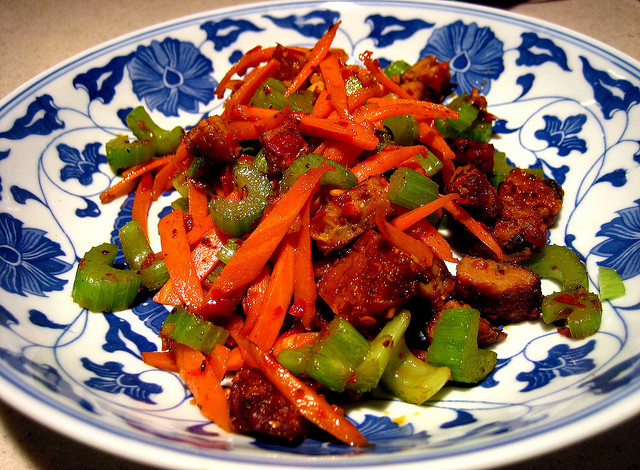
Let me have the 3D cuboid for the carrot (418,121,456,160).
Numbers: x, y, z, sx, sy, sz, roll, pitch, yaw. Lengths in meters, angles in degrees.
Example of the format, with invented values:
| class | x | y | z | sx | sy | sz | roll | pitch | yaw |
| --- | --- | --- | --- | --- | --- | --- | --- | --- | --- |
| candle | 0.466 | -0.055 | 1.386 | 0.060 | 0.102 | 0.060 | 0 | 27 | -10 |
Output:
| class | x | y | z | sx | sy | sz | roll | pitch | yaw |
| --- | --- | --- | --- | --- | --- | --- | --- | --- | --- |
| carrot | 0.915 | -0.766 | 4.839 | 0.163 | 0.112 | 0.356 | -9 | 31 | -25 |

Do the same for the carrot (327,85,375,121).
| class | x | y | z | sx | sy | sz | roll | pitch | yaw |
| --- | --- | --- | --- | --- | --- | --- | --- | --- | --- |
| carrot | 0.230 | -0.991 | 4.775 | 0.352 | 0.096 | 0.092 | -47 | 33 | -18 |

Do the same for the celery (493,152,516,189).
| class | x | y | z | sx | sy | sz | roll | pitch | yaw |
| --- | --- | --- | --- | --- | --- | --- | --- | --- | --- |
| celery | 1.527 | -0.534 | 5.257 | 0.167 | 0.039 | 0.277 | -8 | 88 | -10 |

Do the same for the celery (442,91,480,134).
| class | x | y | z | sx | sy | sz | roll | pitch | yaw |
| --- | --- | --- | --- | --- | --- | --- | --- | --- | --- |
| celery | 1.240 | -1.036 | 5.425 | 0.310 | 0.085 | 0.329 | -42 | 62 | 17 |

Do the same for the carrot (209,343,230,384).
| class | x | y | z | sx | sy | sz | roll | pitch | yaw |
| --- | --- | --- | --- | --- | --- | --- | --- | --- | --- |
| carrot | -0.690 | 0.862 | 4.316 | 0.184 | 0.060 | 0.181 | -55 | 52 | 18 |

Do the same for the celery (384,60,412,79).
| class | x | y | z | sx | sy | sz | roll | pitch | yaw |
| --- | --- | --- | --- | --- | --- | --- | --- | --- | --- |
| celery | 0.700 | -1.510 | 5.701 | 0.177 | 0.056 | 0.195 | 16 | 65 | 18 |

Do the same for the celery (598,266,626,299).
| class | x | y | z | sx | sy | sz | roll | pitch | yaw |
| --- | --- | --- | --- | --- | --- | --- | --- | --- | --- |
| celery | 2.115 | 0.369 | 4.554 | 0.184 | 0.082 | 0.332 | 10 | 41 | 14 |

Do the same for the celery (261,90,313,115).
| class | x | y | z | sx | sy | sz | roll | pitch | yaw |
| --- | --- | --- | --- | --- | --- | --- | --- | --- | --- |
| celery | -0.243 | -1.015 | 4.912 | 0.294 | 0.098 | 0.210 | 5 | 48 | -1 |

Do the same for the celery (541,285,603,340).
| class | x | y | z | sx | sy | sz | roll | pitch | yaw |
| --- | --- | --- | --- | --- | --- | --- | --- | --- | --- |
| celery | 1.797 | 0.536 | 4.439 | 0.324 | 0.149 | 0.355 | -20 | 44 | 34 |
